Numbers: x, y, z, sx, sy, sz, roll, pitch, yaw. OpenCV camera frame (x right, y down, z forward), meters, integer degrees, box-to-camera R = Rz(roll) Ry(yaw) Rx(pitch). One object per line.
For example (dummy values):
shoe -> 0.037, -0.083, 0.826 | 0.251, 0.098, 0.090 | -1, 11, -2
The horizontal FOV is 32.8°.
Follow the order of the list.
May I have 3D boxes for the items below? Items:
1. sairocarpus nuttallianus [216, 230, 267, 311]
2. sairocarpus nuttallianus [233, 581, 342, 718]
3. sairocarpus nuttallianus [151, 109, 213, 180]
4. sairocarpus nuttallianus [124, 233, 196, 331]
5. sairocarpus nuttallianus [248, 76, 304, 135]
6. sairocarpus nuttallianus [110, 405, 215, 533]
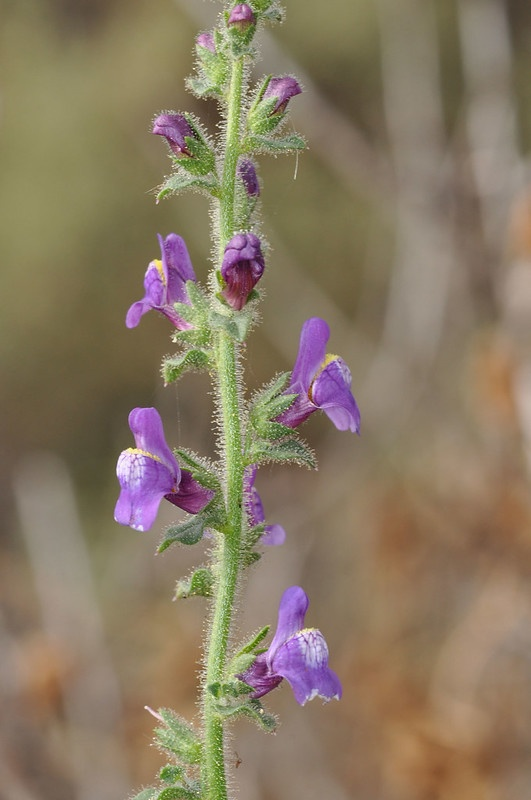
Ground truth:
sairocarpus nuttallianus -> -0.025, -0.128, 0.898 | 0.049, 0.080, 0.031 | -24, 51, -11
sairocarpus nuttallianus -> 0.029, 0.241, 0.876 | 0.124, 0.112, 0.117 | -18, 59, 46
sairocarpus nuttallianus -> -0.074, -0.270, 0.944 | 0.091, 0.033, 0.056 | 12, 2, -31
sairocarpus nuttallianus -> -0.112, -0.129, 0.972 | 0.071, 0.093, 0.106 | 2, 50, 11
sairocarpus nuttallianus -> 0.016, -0.315, 0.959 | 0.050, 0.034, 0.075 | 31, 28, -6
sairocarpus nuttallianus -> -0.117, 0.073, 0.913 | 0.086, 0.120, 0.135 | 12, 14, 21
